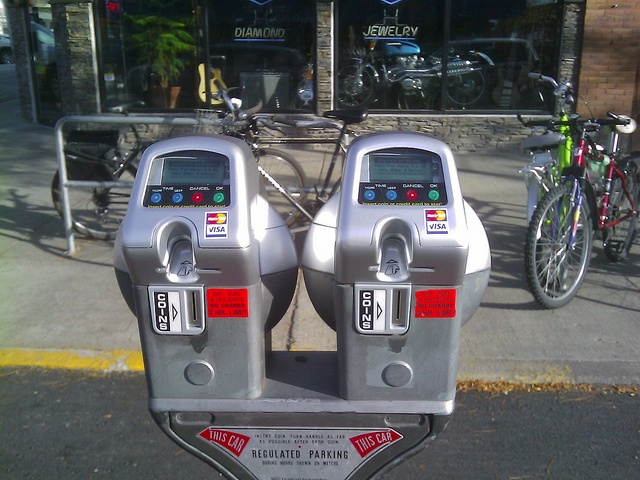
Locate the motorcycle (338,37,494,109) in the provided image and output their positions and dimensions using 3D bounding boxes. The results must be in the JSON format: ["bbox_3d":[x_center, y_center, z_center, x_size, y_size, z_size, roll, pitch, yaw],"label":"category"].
[{"bbox_3d":[1.573,-2.805,9.505,2.435,1.517,1.095,2,13,1],"label":"motorcycle"}]

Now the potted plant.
[{"bbox_3d":[-2.681,-3.129,9.422,0.878,1.467,0.888,-13,36,-20],"label":"potted plant"}]
